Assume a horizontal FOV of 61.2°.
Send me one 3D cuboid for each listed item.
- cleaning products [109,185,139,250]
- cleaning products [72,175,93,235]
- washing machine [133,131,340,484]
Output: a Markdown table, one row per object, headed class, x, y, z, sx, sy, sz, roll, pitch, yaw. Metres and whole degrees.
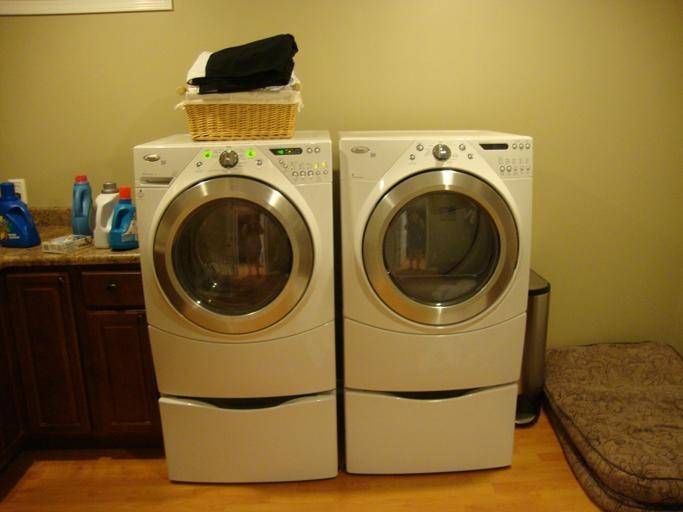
| class | x | y | z | sx | sy | sz | roll | pitch | yaw |
| --- | --- | --- | --- | --- | --- | --- | --- | --- | --- |
| cleaning products | -1.029 | -0.186 | 2.774 | 0.138 | 0.316 | 0.151 | 10 | 16 | 5 |
| cleaning products | -1.331 | -0.254 | 2.943 | 0.105 | 0.292 | 0.211 | -8 | 15 | -25 |
| washing machine | -0.456 | 0.224 | 2.974 | 0.862 | 1.547 | 0.939 | 2 | 14 | -5 |
